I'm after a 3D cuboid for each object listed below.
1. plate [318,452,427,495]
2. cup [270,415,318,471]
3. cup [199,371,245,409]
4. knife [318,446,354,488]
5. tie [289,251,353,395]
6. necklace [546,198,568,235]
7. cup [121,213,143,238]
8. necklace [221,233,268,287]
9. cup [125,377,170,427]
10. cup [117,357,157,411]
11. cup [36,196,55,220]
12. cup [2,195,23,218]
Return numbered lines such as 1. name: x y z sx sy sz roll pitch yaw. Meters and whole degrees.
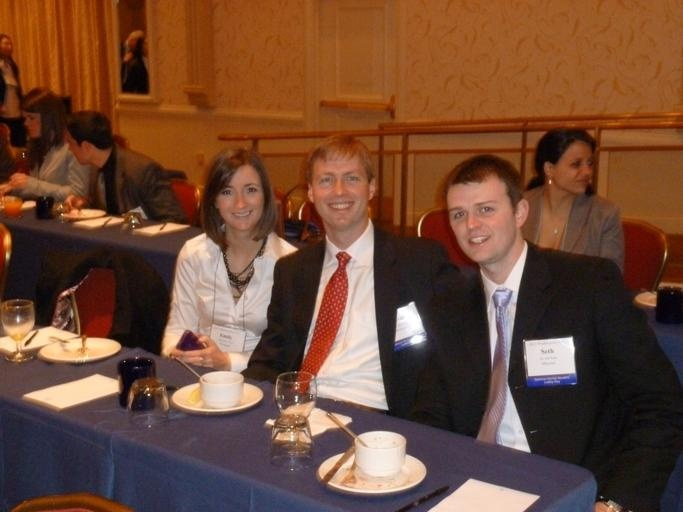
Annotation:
1. plate: 0.088 0.534 1.507 0.250 0.025 0.145 1 12 -3
2. cup: -0.128 0.478 1.580 0.097 0.105 0.103 0 -1 0
3. cup: -0.356 0.402 1.853 0.094 0.071 0.104 -1 -1 1
4. knife: -0.015 0.510 1.536 0.030 0.021 0.141 9 29 25
5. tie: -0.067 0.272 2.319 0.105 0.567 0.071 15 -11 11
6. necklace: 1.308 -0.240 3.756 0.129 0.195 0.064 5 -1 40
7. cup: -1.425 -0.207 4.147 0.148 0.160 0.116 -5 -6 10
8. necklace: -0.472 0.035 2.874 0.155 0.240 0.040 -7 -25 19
9. cup: -0.548 0.411 1.765 0.106 0.114 0.112 0 1 0
10. cup: -0.635 0.399 1.920 0.117 0.131 0.124 0 10 0
11. cup: -2.152 -0.342 4.538 0.159 0.196 0.166 5 4 0
12. cup: -2.434 -0.368 4.609 0.146 0.178 0.150 1 4 0
